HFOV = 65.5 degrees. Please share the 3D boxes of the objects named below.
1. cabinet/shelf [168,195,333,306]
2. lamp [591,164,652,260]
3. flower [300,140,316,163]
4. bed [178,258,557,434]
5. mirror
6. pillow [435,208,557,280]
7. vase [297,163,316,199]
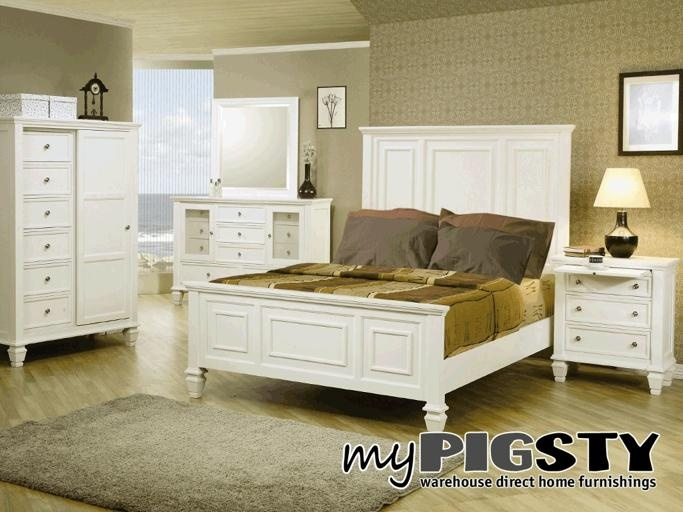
[{"bbox_3d":[-0.846,-0.106,5.152,1.472,0.928,0.523,2,2,21],"label":"cabinet/shelf"},{"bbox_3d":[2.068,-0.327,3.896,0.355,0.650,0.422,4,8,28],"label":"lamp"},{"bbox_3d":[-0.368,-1.201,6.149,0.172,0.258,0.229,-1,7,-9],"label":"flower"},{"bbox_3d":[0.413,0.364,3.855,1.889,0.907,2.284,2,5,30],"label":"bed"},{"bbox_3d":[-0.992,-1.324,6.387,1.557,1.476,0.141,1,2,16],"label":"mirror"},{"bbox_3d":[1.405,-0.009,4.306,0.828,0.533,0.226,11,-15,18],"label":"pillow"},{"bbox_3d":[-0.384,-0.849,5.983,0.213,0.399,0.500,0,7,-2],"label":"vase"}]
